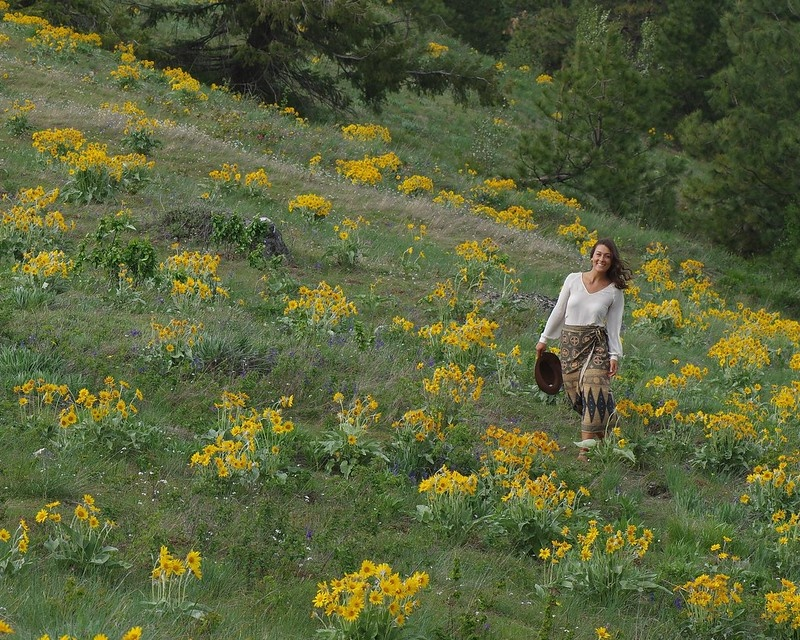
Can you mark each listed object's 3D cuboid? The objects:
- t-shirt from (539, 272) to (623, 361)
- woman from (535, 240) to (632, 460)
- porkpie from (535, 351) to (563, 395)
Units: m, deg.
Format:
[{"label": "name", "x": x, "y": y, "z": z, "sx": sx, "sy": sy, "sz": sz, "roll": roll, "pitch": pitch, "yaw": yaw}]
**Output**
[{"label": "t-shirt", "x": 2.674, "y": -0.013, "z": 21.492, "sx": 0.837, "sy": 1.061, "sz": 0.350, "roll": 16, "pitch": -2, "yaw": 13}, {"label": "woman", "x": 2.606, "y": 0.348, "z": 21.450, "sx": 1.086, "sy": 3.288, "sz": 0.992, "roll": 9, "pitch": 24, "yaw": 17}, {"label": "porkpie", "x": 2.166, "y": 0.751, "z": 21.354, "sx": 0.124, "sy": 0.512, "sz": 0.529, "roll": -2, "pitch": 40, "yaw": -36}]
